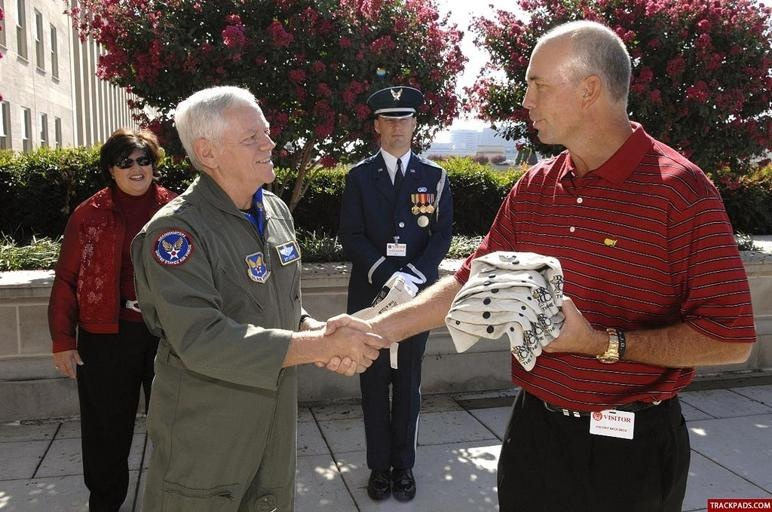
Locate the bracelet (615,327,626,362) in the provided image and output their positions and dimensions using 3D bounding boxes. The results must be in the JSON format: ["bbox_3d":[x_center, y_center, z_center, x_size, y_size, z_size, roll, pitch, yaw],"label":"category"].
[{"bbox_3d":[1.169,0.450,3.393,0.073,0.151,0.060,0,7,13],"label":"bracelet"}]
